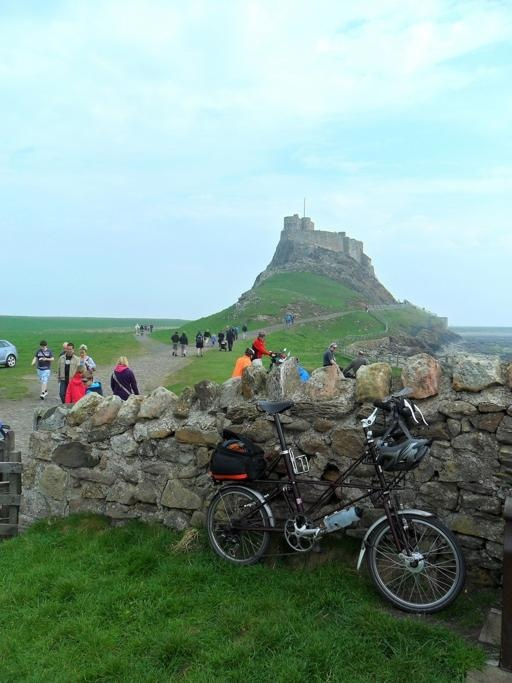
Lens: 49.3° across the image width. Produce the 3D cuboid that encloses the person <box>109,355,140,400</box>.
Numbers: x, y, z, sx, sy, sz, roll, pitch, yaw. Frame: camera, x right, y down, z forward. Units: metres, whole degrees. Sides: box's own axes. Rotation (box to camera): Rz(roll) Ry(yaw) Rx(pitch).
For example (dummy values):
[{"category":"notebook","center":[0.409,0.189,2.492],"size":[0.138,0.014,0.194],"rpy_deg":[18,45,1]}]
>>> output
[{"category":"person","center":[-2.578,0.743,10.947],"size":[0.475,0.849,0.857],"rpy_deg":[-4,2,-14]}]

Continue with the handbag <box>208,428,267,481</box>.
[{"category":"handbag","center":[-0.176,1.148,5.575],"size":[0.592,0.499,0.565],"rpy_deg":[4,-5,-23]}]

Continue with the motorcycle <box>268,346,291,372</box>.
[{"category":"motorcycle","center":[0.425,0.294,10.319],"size":[0.307,0.330,0.603],"rpy_deg":[-4,0,1]}]

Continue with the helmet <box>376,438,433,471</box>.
[{"category":"helmet","center":[1.171,0.916,4.472],"size":[0.345,0.167,0.283],"rpy_deg":[-28,-7,35]}]
